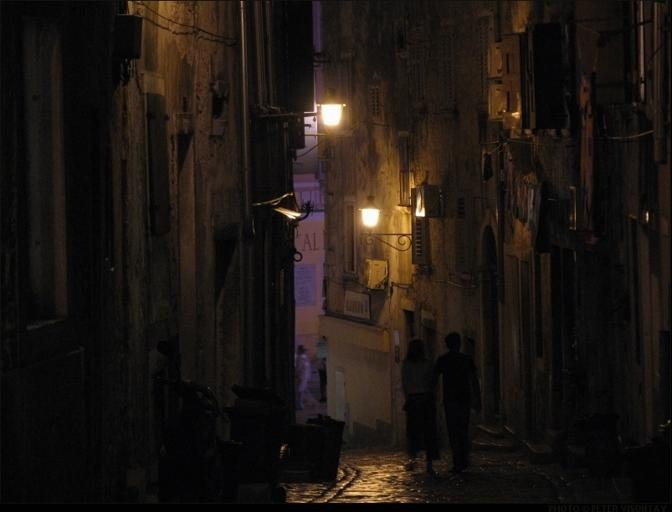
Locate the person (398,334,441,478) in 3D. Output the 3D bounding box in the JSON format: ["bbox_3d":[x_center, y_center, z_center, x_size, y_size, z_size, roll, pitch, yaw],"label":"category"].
[{"bbox_3d":[0.748,1.342,12.719,0.329,1.186,0.199,1,-4,2],"label":"person"}]

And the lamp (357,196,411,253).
[{"bbox_3d":[0.427,-0.268,12.936,0.436,0.491,0.178,1,2,20],"label":"lamp"}]

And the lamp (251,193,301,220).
[{"bbox_3d":[-0.505,-0.429,12.897,0.356,0.166,0.239,-15,-23,24],"label":"lamp"}]

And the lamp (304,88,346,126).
[{"bbox_3d":[-0.065,-1.359,13.041,0.374,0.310,0.276,-2,-2,22],"label":"lamp"}]

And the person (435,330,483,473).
[{"bbox_3d":[1.080,1.313,12.699,0.397,1.233,0.170,1,-4,6],"label":"person"}]
